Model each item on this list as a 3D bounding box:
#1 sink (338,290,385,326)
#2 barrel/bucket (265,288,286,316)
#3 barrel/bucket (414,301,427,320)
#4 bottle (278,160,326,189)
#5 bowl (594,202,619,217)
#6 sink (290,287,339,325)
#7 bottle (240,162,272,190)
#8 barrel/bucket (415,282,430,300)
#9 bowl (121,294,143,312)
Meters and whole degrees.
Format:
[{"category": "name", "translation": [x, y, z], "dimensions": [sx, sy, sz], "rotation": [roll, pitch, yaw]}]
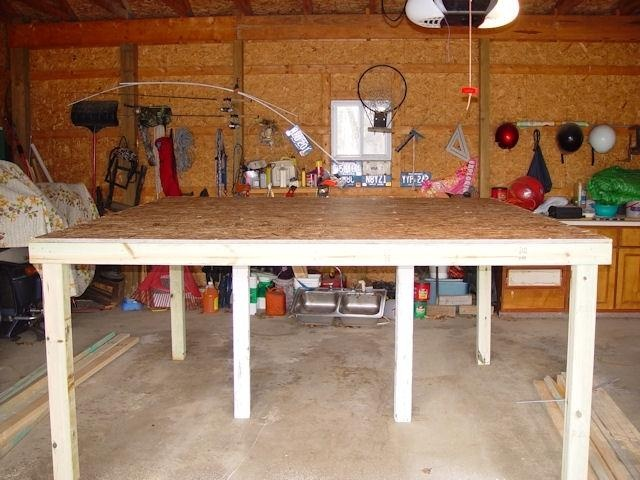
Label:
[{"category": "sink", "translation": [0.471, 0.776, 6.152], "dimensions": [0.633, 0.212, 0.661], "rotation": [-4, 26, -2]}, {"category": "barrel/bucket", "translation": [-0.457, 0.746, 6.392], "dimensions": [0.273, 0.353, 0.265], "rotation": [0, 0, 0]}, {"category": "barrel/bucket", "translation": [1.159, 0.801, 6.298], "dimensions": [0.212, 0.219, 0.207], "rotation": [-1, 10, 0]}, {"category": "bottle", "translation": [-0.249, -0.833, 6.884], "dimensions": [0.522, 0.261, 0.359], "rotation": [1, 5, -4]}, {"category": "bowl", "translation": [3.379, -0.342, 6.381], "dimensions": [0.215, 0.099, 0.210], "rotation": [-1, 2, 0]}, {"category": "sink", "translation": [-0.027, 0.781, 6.178], "dimensions": [0.627, 0.231, 0.619], "rotation": [-1, 23, -2]}, {"category": "bottle", "translation": [-0.824, -0.789, 6.943], "dimensions": [0.399, 0.371, 0.382], "rotation": [1, 4, -16]}, {"category": "barrel/bucket", "translation": [1.186, 0.597, 6.302], "dimensions": [0.193, 0.209, 0.160], "rotation": [2, 5, 6]}, {"category": "bowl", "translation": [-2.323, 0.767, 6.613], "dimensions": [0.177, 0.106, 0.173], "rotation": [1, 4, 0]}]
